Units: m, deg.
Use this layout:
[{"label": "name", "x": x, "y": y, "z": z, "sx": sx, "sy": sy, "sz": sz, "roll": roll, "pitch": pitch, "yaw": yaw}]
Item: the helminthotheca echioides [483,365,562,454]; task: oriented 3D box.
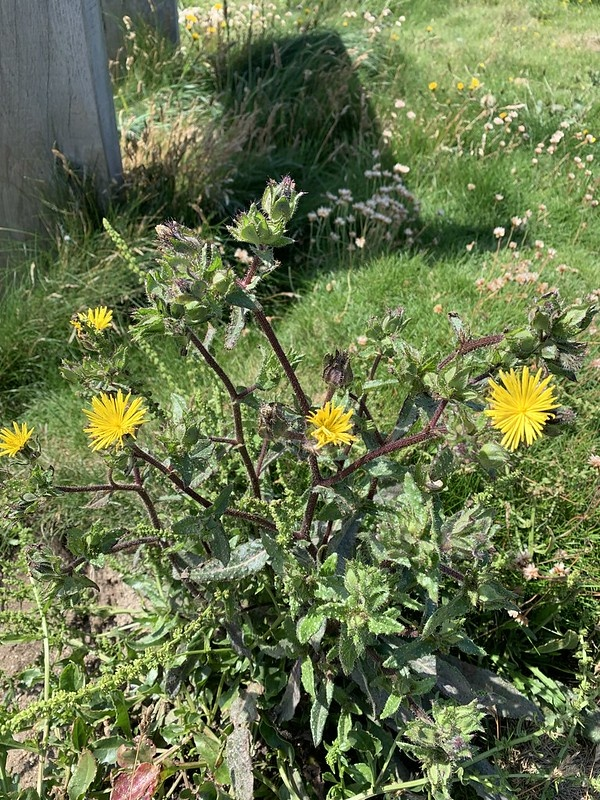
[{"label": "helminthotheca echioides", "x": 0.374, "y": 0.016, "z": 1.221, "sx": 0.110, "sy": 0.154, "sz": 0.097, "roll": 21, "pitch": 36, "yaw": 30}]

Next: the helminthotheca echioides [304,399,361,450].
[{"label": "helminthotheca echioides", "x": 0.058, "y": 0.043, "z": 1.253, "sx": 0.086, "sy": 0.089, "sz": 0.055, "roll": 29, "pitch": 3, "yaw": -3}]
